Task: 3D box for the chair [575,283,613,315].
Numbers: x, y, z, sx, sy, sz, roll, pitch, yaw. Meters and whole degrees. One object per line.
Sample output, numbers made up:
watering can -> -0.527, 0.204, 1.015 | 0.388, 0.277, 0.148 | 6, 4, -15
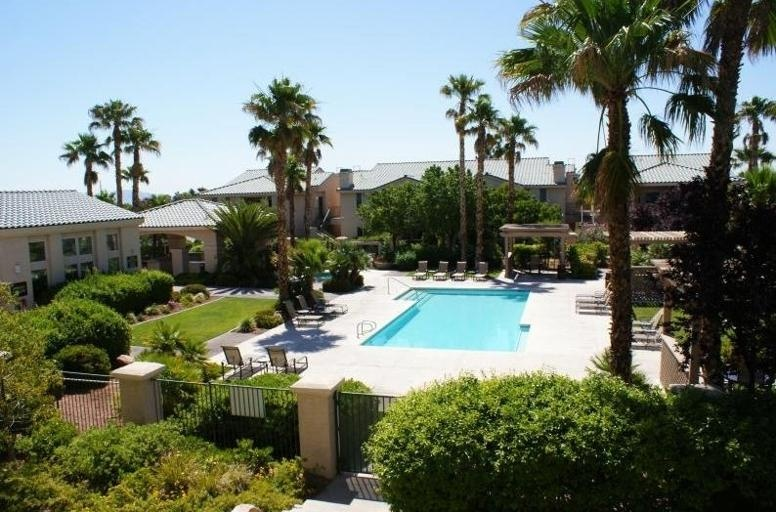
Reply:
chair -> 9.014, 1.816, 26.018 | 1.358, 0.973, 2.930 | 1, 7, 18
